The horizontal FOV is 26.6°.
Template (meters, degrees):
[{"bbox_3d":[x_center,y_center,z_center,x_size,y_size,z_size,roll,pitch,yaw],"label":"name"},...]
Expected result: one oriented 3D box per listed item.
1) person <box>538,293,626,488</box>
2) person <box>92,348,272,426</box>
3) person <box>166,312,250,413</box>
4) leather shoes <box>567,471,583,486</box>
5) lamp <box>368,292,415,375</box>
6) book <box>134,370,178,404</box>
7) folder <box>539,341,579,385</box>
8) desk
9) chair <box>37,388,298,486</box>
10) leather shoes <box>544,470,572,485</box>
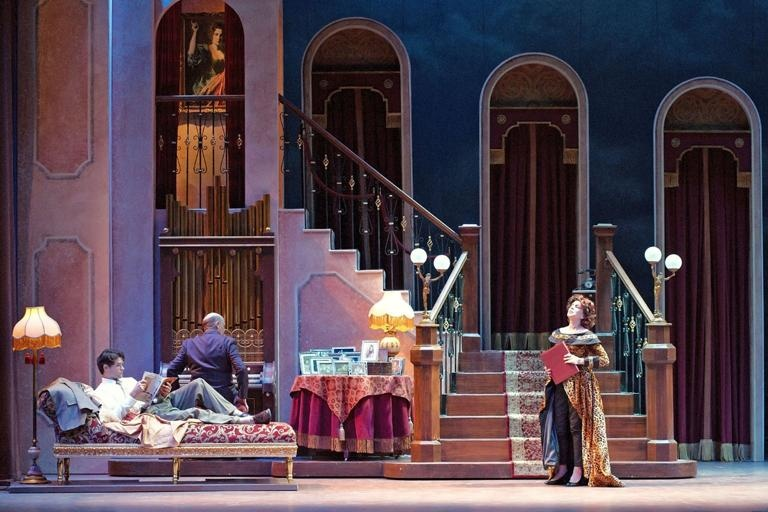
[{"bbox_3d":[2.301,1.580,19.573,0.899,2.301,0.372,-2,-8,9],"label":"person"},{"bbox_3d":[-2.414,1.560,19.407,2.093,0.901,0.969,1,15,9],"label":"person"},{"bbox_3d":[-2.079,1.572,20.083,0.914,1.846,0.735,2,11,15],"label":"person"},{"bbox_3d":[2.261,2.600,19.412,0.200,0.213,0.116,-2,-8,5],"label":"leather shoes"},{"bbox_3d":[0.065,0.837,20.895,0.560,0.935,0.563,5,7,27],"label":"lamp"},{"bbox_3d":[-2.759,1.535,19.331,0.373,0.391,0.139,22,24,-34],"label":"book"},{"bbox_3d":[2.108,1.242,19.584,0.465,0.472,0.110,-34,-13,30],"label":"folder"},{"bbox_3d":[-0.377,1.902,19.998,1.119,0.677,1.125,1,-6,-12],"label":"desk"},{"bbox_3d":[-2.535,1.941,19.429,2.270,0.918,1.402,0,-3,-5],"label":"chair"},{"bbox_3d":[2.099,2.627,19.593,0.389,0.169,0.134,0,-1,-1],"label":"leather shoes"}]
